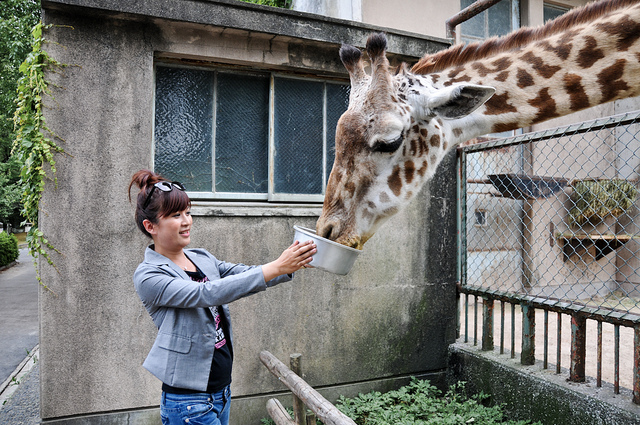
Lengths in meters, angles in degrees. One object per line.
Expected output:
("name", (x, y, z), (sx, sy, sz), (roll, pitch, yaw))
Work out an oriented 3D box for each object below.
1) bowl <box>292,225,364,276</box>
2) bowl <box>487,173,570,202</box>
("bowl", (0.084, 0.320, 6.567), (0.525, 0.214, 0.531), (28, -6, 3))
("bowl", (3.834, -0.572, 11.901), (1.313, 0.425, 1.098), (3, 24, 14))
